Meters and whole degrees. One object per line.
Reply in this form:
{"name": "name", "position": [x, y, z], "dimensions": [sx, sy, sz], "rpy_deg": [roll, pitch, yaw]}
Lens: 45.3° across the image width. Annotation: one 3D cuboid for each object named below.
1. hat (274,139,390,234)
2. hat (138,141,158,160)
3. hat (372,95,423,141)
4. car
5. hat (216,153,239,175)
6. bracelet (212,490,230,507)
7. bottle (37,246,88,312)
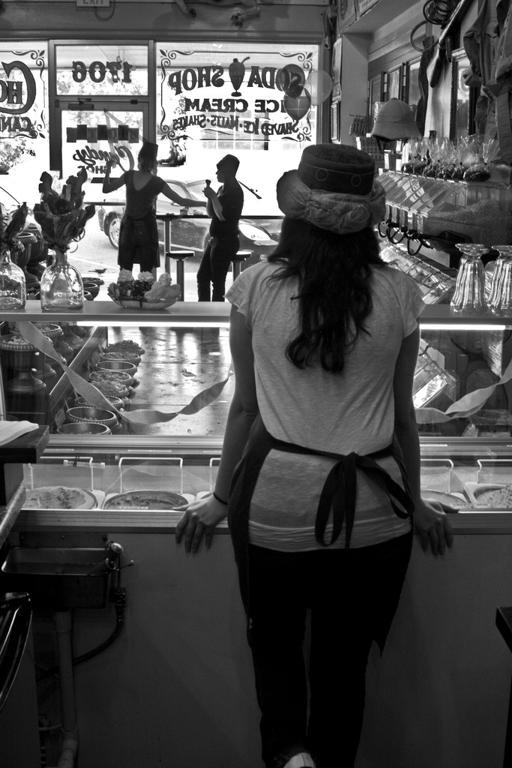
{"name": "hat", "position": [0.119, -0.292, 0.977], "dimensions": [0.143, 0.093, 0.169], "rpy_deg": [24, 47, 18]}
{"name": "hat", "position": [-1.141, -2.481, 6.481], "dimensions": [0.178, 0.174, 0.252], "rpy_deg": [-2, 14, -12]}
{"name": "hat", "position": [1.310, -2.474, 5.700], "dimensions": [0.399, 0.387, 0.684], "rpy_deg": [4, 15, 14]}
{"name": "car", "position": [-0.843, -2.335, 9.055], "dimensions": [2.747, 1.002, 1.288], "rpy_deg": [2, 15, 15]}
{"name": "hat", "position": [-0.316, -2.505, 6.971], "dimensions": [0.236, 0.239, 0.192], "rpy_deg": [14, 7, 17]}
{"name": "bracelet", "position": [-0.072, 0.235, 1.256], "dimensions": [0.038, 0.010, 0.036], "rpy_deg": [31, 1, 13]}
{"name": "bottle", "position": [-0.516, -0.278, 1.626], "dimensions": [0.109, 0.149, 0.180], "rpy_deg": [-4, 15, -19]}
